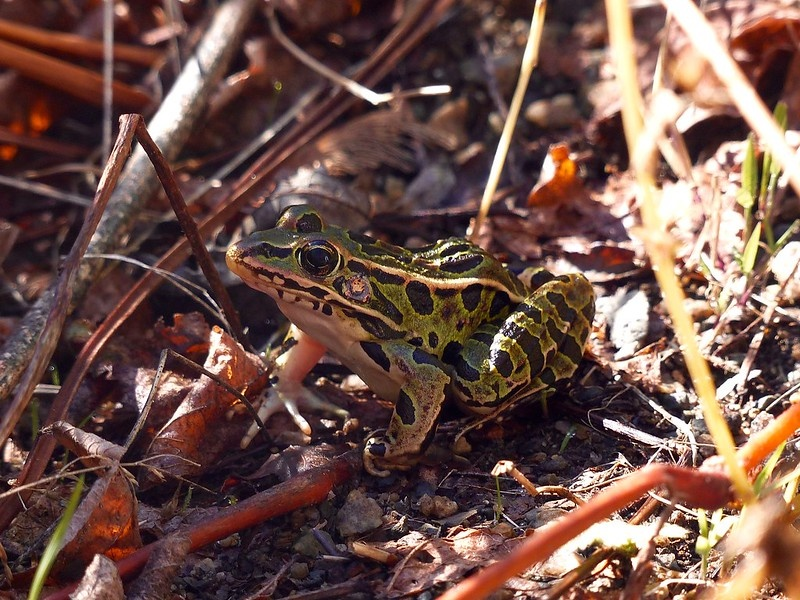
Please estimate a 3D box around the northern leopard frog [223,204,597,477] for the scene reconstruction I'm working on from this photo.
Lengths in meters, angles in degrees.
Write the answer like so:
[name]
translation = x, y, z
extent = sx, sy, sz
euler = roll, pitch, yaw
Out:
[northern leopard frog]
translation = 0.096, 0.102, 3.246
extent = 1.465, 0.886, 0.743
euler = -8, 27, -13
